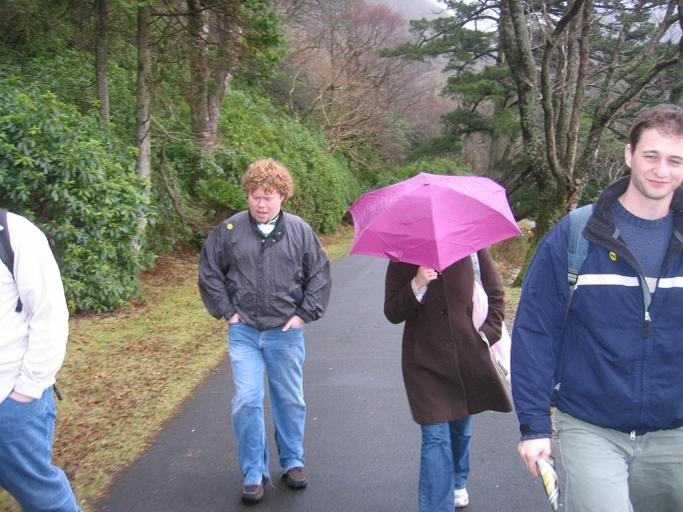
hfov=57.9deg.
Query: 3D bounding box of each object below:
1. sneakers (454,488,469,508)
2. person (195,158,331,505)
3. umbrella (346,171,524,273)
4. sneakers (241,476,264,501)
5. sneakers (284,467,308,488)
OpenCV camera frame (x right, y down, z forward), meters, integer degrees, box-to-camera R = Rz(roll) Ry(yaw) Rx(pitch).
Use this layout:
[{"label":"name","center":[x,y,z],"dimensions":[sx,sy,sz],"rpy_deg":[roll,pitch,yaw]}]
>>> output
[{"label":"sneakers","center":[0.887,1.796,4.585],"dimensions":[0.092,0.107,0.254],"rpy_deg":[-4,-9,9]},{"label":"person","center":[-0.575,0.513,4.821],"dimensions":[1.037,2.508,0.752],"rpy_deg":[-1,9,-15]},{"label":"umbrella","center":[0.562,-0.249,4.100],"dimensions":[0.832,0.281,0.828],"rpy_deg":[9,42,22]},{"label":"sneakers","center":[-0.663,1.746,4.657],"dimensions":[0.191,0.121,0.249],"rpy_deg":[0,9,-7]},{"label":"sneakers","center":[-0.370,1.722,4.832],"dimensions":[0.219,0.131,0.174],"rpy_deg":[3,9,8]}]
